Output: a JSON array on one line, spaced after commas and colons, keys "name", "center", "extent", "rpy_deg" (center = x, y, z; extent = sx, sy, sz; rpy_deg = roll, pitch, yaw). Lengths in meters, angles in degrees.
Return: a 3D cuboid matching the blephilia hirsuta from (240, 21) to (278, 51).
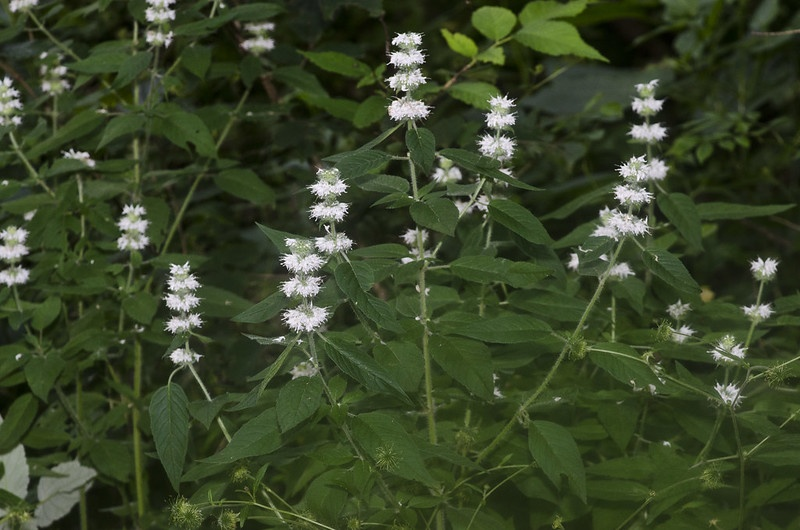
[{"name": "blephilia hirsuta", "center": [-0.586, -0.953, 3.771], "extent": [0.154, 0.160, 0.141], "rpy_deg": [-5, 56, -7]}]
